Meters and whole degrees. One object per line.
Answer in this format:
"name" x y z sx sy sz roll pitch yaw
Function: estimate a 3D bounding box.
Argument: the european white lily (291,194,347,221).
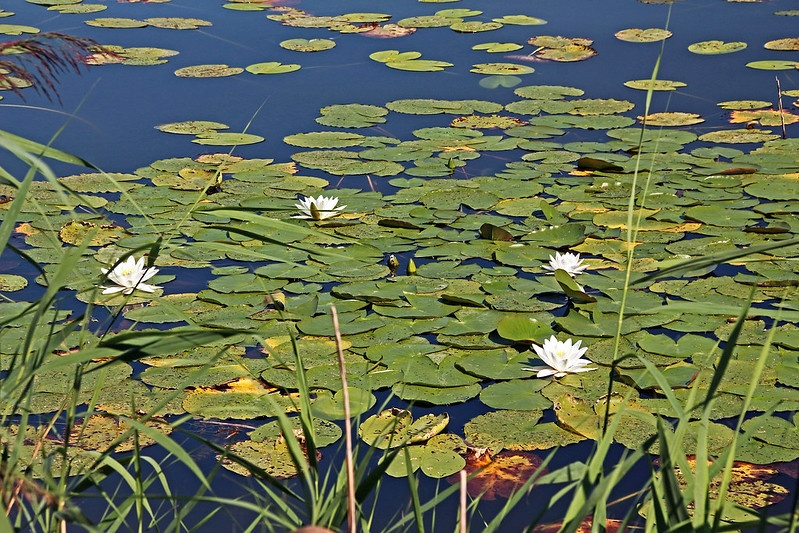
"european white lily" -0.501 -0.358 5.242 0.404 0.091 0.256 -1 19 14

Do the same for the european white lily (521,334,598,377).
"european white lily" 0.747 0.434 4.005 0.334 0.077 0.282 -10 11 -29
